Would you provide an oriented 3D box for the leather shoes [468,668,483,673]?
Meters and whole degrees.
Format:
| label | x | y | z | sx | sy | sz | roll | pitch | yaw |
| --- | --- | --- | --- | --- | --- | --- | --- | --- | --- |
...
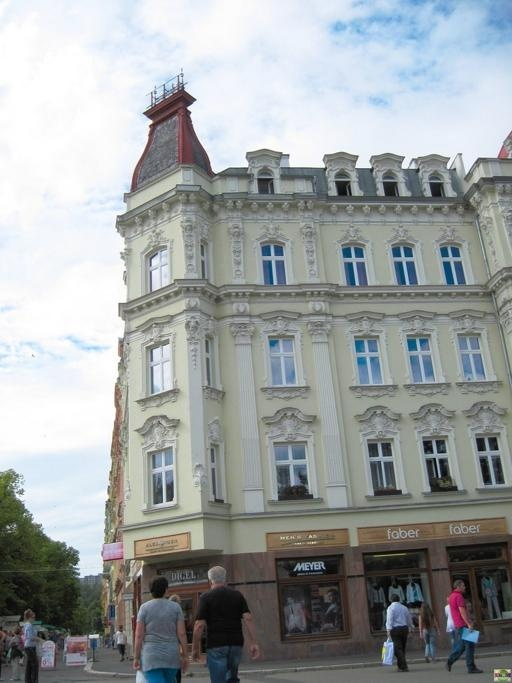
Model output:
| label | x | y | z | sx | sy | sz | roll | pitch | yaw |
| --- | --- | --- | --- | --- | --- | --- | --- | --- | --- |
| leather shoes | 4.527 | 6.809 | 15.247 | 0.248 | 0.087 | 0.117 | -1 | -9 | -7 |

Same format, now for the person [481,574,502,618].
| label | x | y | z | sx | sy | sz | roll | pitch | yaw |
| --- | --- | --- | --- | --- | --- | --- | --- | --- | --- |
| person | 8.124 | 8.867 | 25.596 | 0.609 | 1.408 | 0.152 | 6 | -28 | -24 |
